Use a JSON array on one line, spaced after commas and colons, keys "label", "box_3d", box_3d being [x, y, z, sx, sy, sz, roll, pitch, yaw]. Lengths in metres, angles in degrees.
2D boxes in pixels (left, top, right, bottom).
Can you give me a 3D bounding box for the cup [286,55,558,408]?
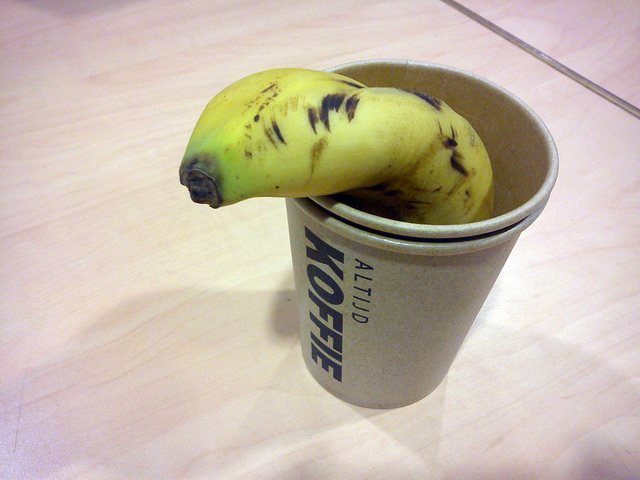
[{"label": "cup", "box_3d": [0.095, -0.032, 1.115, 0.531, 0.508, 0.500, 4, 47, -4]}]
